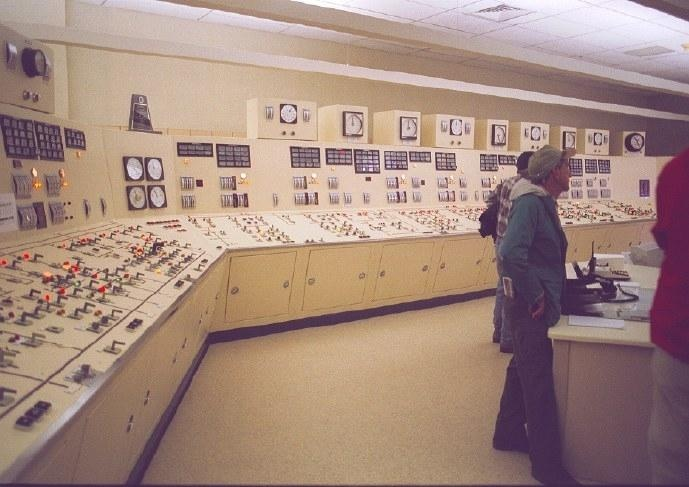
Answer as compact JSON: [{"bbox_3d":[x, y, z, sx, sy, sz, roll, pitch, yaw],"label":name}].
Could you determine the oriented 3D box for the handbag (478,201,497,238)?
[{"bbox_3d":[1.397,-0.219,4.143,0.103,0.290,0.223,9,5,-11],"label":"handbag"}]

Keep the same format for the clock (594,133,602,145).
[{"bbox_3d":[4.306,-1.768,7.217,0.191,0.180,0.045,1,4,-28],"label":"clock"}]

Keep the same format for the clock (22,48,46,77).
[{"bbox_3d":[-1.999,-1.156,2.737,0.077,0.176,0.197,-1,13,-11],"label":"clock"}]

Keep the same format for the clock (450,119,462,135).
[{"bbox_3d":[1.489,-1.546,5.722,0.186,0.197,0.193,-3,5,-24],"label":"clock"}]

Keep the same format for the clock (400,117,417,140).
[{"bbox_3d":[0.784,-1.451,5.324,0.276,0.267,0.055,-6,8,-34],"label":"clock"}]

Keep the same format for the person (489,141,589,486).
[{"bbox_3d":[1.132,0.390,2.483,0.487,1.869,0.736,6,14,20],"label":"person"}]

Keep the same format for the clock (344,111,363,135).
[{"bbox_3d":[0.080,-1.415,4.983,0.290,0.262,0.058,-2,1,-38],"label":"clock"}]

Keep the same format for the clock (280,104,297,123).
[{"bbox_3d":[-0.588,-1.410,4.569,0.200,0.191,0.045,0,3,-33],"label":"clock"}]

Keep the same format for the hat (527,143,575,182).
[{"bbox_3d":[1.250,-0.536,2.615,0.308,0.172,0.206,-30,7,12],"label":"hat"}]

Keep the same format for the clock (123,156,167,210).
[{"bbox_3d":[-1.823,-0.540,3.872,0.119,0.486,0.433,6,14,23],"label":"clock"}]

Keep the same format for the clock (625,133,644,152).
[{"bbox_3d":[5.131,-1.788,7.549,0.309,0.314,0.074,-19,6,-7],"label":"clock"}]
